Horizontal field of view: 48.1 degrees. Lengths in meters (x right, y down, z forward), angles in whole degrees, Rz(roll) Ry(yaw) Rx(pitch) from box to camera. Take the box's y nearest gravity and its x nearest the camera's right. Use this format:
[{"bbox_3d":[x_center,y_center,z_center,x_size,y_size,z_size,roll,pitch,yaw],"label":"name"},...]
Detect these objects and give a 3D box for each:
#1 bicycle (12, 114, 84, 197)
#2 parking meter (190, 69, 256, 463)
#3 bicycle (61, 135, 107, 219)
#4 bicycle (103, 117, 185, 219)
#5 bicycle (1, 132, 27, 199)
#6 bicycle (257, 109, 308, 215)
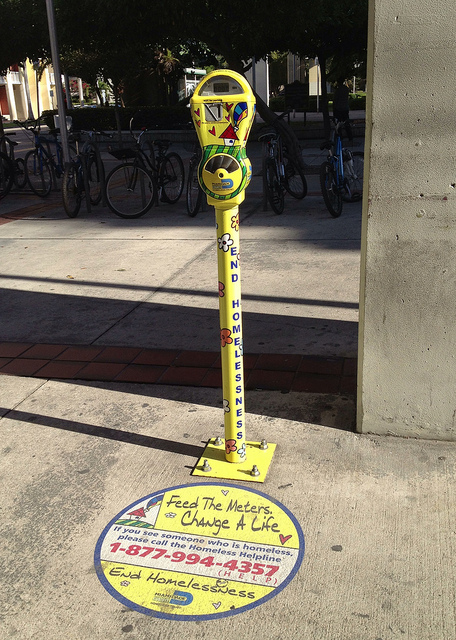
[{"bbox_3d":[-4.606,-3.772,11.775,1.132,1.464,2.333,-15,15,-33],"label":"bicycle"},{"bbox_3d":[0.030,-0.124,1.897,0.245,1.472,0.220,-7,19,-2],"label":"parking meter"},{"bbox_3d":[-2.571,-2.568,9.033,0.747,1.170,3.304,-10,19,-11],"label":"bicycle"},{"bbox_3d":[-1.270,-2.478,8.278,0.784,1.340,2.222,14,26,20],"label":"bicycle"},{"bbox_3d":[-4.417,-3.090,10.348,0.578,1.127,0.999,-13,20,-18],"label":"bicycle"},{"bbox_3d":[0.846,-2.297,7.846,0.538,1.116,1.612,-1,19,17],"label":"bicycle"}]
